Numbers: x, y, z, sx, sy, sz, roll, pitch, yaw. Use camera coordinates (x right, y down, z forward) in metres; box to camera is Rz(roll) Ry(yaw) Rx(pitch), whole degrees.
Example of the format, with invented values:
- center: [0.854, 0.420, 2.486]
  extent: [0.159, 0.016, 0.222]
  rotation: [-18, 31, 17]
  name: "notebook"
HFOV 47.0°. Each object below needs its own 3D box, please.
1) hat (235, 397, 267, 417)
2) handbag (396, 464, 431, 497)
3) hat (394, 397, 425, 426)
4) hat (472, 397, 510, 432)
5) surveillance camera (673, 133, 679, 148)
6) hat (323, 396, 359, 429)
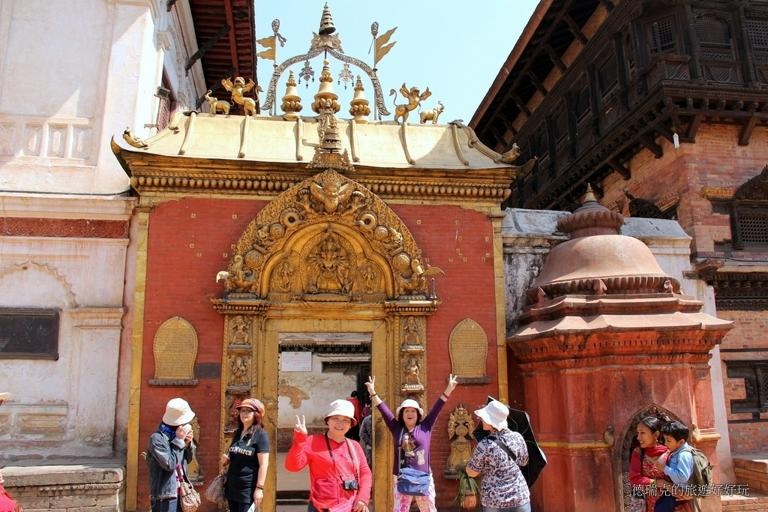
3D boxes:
- center: [-2.244, 2.509, 14.747]
  extent: [0.392, 0.237, 0.540]
  rotation: [-10, -30, 39]
  name: "hat"
- center: [0.491, 3.649, 14.292]
  extent: [0.586, 0.430, 0.413]
  rotation: [7, -35, -1]
  name: "handbag"
- center: [0.414, 2.494, 14.621]
  extent: [0.454, 0.211, 0.464]
  rotation: [3, -29, -5]
  name: "hat"
- center: [1.753, 2.544, 14.034]
  extent: [0.521, 0.193, 0.415]
  rotation: [-18, 41, -41]
  name: "hat"
- center: [6.970, -2.764, 21.076]
  extent: [0.138, 0.320, 0.273]
  rotation: [-6, -15, 18]
  name: "surveillance camera"
- center: [-0.512, 2.403, 13.691]
  extent: [0.673, 0.357, 0.643]
  rotation: [17, -10, -8]
  name: "hat"
